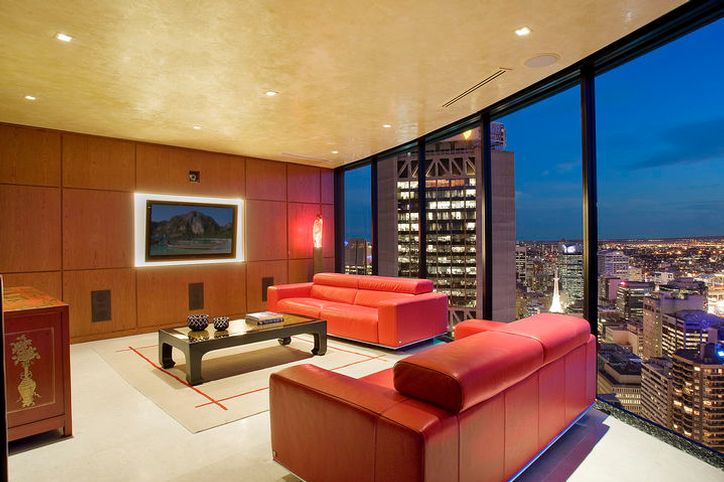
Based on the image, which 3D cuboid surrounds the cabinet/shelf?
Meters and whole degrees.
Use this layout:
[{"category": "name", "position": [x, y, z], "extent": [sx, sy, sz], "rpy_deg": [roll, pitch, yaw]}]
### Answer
[{"category": "cabinet/shelf", "position": [-3.089, 1.181, 4.475], "extent": [0.643, 1.249, 0.810], "rpy_deg": [-10, 17, -30]}]

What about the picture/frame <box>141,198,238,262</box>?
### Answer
[{"category": "picture/frame", "position": [-2.936, -0.195, 7.794], "extent": [1.216, 0.787, 0.121], "rpy_deg": [1, -1, -35]}]

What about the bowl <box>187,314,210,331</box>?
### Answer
[{"category": "bowl", "position": [-2.022, 0.994, 5.766], "extent": [0.222, 0.155, 0.218], "rpy_deg": [2, 1, 0]}]

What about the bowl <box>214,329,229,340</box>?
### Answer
[{"category": "bowl", "position": [-1.664, 1.107, 5.574], "extent": [0.180, 0.053, 0.326], "rpy_deg": [-5, 14, -17]}]

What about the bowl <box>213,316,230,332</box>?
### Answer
[{"category": "bowl", "position": [-1.740, 1.020, 5.823], "extent": [0.183, 0.129, 0.181], "rpy_deg": [0, -9, 0]}]
